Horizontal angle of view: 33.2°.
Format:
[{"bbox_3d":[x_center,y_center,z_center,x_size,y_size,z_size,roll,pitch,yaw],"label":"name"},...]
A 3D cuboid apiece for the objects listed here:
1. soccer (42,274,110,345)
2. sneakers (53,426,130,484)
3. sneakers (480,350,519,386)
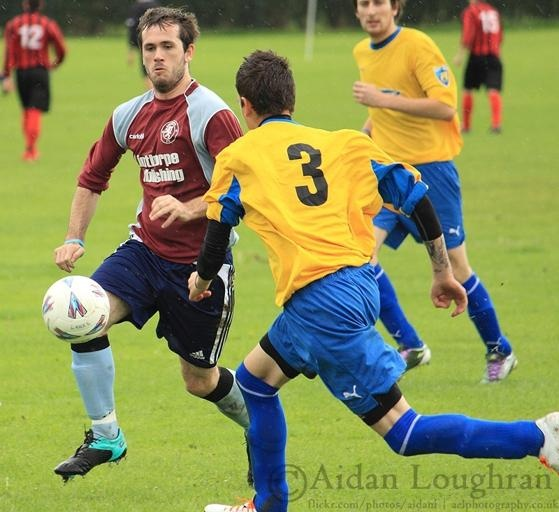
[{"bbox_3d":[-1.019,0.235,4.774,0.337,0.325,0.353,-5,49,-12],"label":"soccer"},{"bbox_3d":[-0.979,1.001,4.797,0.159,0.215,0.448,-8,1,42],"label":"sneakers"},{"bbox_3d":[1.454,0.704,6.189,0.117,0.156,0.325,-14,26,46],"label":"sneakers"}]
